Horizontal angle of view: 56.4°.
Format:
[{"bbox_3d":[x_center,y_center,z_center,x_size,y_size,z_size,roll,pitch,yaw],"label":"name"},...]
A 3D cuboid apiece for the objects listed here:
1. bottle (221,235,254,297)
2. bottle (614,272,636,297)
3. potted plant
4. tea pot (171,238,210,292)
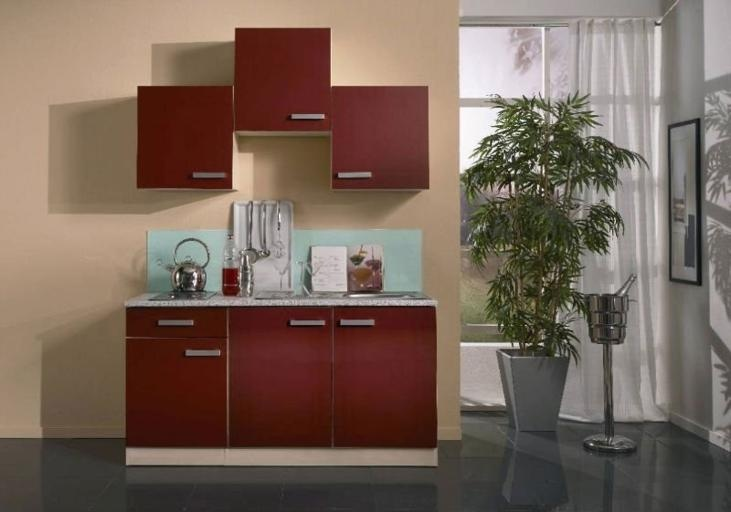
[{"bbox_3d":[-1.019,0.078,5.401,0.238,0.425,0.298,-3,14,-13],"label":"bottle"},{"bbox_3d":[2.103,0.233,5.485,0.112,0.181,0.362,8,17,29],"label":"bottle"},{"bbox_3d":[1.479,-0.099,5.806,1.346,2.490,0.952,2,14,8],"label":"potted plant"},{"bbox_3d":[-1.343,0.090,5.431,0.384,0.523,0.313,1,-4,-2],"label":"tea pot"}]
